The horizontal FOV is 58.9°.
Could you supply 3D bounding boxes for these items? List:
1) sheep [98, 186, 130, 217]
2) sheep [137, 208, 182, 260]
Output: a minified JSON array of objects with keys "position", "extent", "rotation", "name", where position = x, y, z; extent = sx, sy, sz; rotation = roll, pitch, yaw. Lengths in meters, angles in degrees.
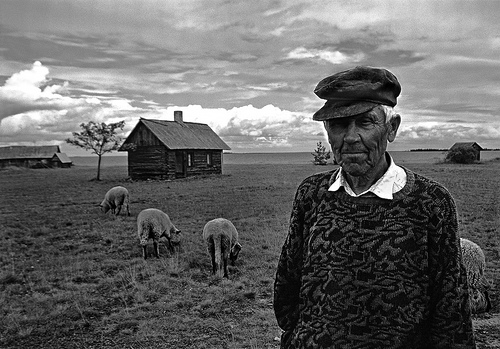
[{"position":[-6.114,1.263,20.214],"extent":[1.188,1.294,2.195],"rotation":[-3,9,-17],"name":"sheep"},{"position":[-3.096,1.996,14.988],"extent":[0.775,1.597,2.976],"rotation":[-2,-5,9],"name":"sheep"}]
